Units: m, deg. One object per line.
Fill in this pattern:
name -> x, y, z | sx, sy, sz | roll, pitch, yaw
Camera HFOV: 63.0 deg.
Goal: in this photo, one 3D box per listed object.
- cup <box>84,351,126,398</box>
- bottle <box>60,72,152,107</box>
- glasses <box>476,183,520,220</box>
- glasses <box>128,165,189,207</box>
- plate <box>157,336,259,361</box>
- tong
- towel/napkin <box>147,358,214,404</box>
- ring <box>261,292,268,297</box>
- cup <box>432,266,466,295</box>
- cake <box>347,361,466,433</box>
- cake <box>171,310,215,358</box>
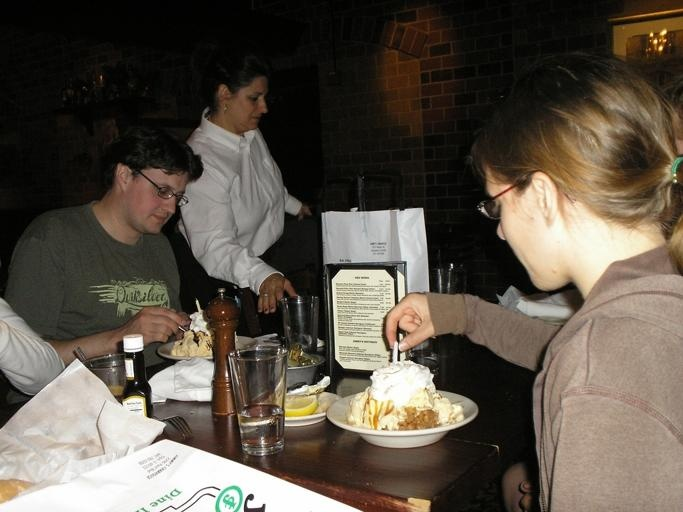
cup -> -0.510, 0.261, 1.245 | 0.103, 0.070, 0.086 | -1, 7, -8
bottle -> -1.621, -1.122, 3.771 | 0.432, 0.132, 0.298 | -7, 2, -7
glasses -> 0.311, -0.109, 1.110 | 0.052, 0.017, 0.051 | -38, -2, -1
glasses -> -0.751, -0.294, 2.347 | 0.131, 0.038, 0.128 | 35, 6, 18
plate -> -0.370, 0.254, 1.540 | 0.173, 0.027, 0.164 | -2, 6, -37
tong -> 0.110, 0.249, 1.117 | 0.158, 0.073, 0.156 | -3, 3, -35
towel/napkin -> -0.393, 0.293, 1.341 | 0.123, 0.035, 0.114 | -5, 52, -8
ring -> -0.326, 0.160, 2.341 | 0.024, 0.017, 0.017 | -6, 1, 25
cup -> 0.374, 0.083, 1.942 | 0.107, 0.072, 0.098 | -2, 1, 0
cake -> 0.133, 0.258, 1.127 | 0.164, 0.069, 0.156 | -2, 2, -30
cake -> -0.475, 0.265, 1.775 | 0.142, 0.056, 0.177 | 9, 20, 8
